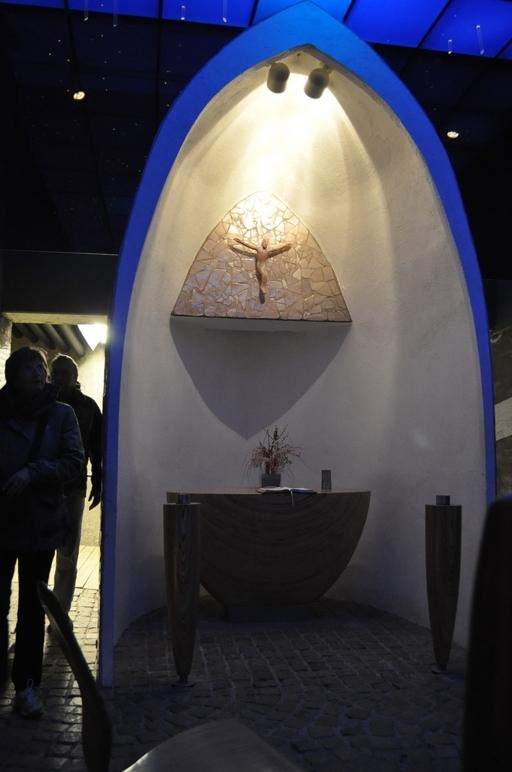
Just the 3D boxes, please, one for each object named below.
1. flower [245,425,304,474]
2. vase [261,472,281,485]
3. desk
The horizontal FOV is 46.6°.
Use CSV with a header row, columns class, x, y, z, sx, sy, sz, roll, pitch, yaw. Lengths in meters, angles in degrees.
class,x,y,z,sx,sy,sz,roll,pitch,yaw
flower,0.177,0.480,4.521,0.398,0.368,0.453,2,-8,-11
vase,0.102,0.661,4.170,0.127,0.079,0.065,3,-8,-18
desk,0.140,1.025,3.756,1.136,0.715,0.257,3,-7,-18
